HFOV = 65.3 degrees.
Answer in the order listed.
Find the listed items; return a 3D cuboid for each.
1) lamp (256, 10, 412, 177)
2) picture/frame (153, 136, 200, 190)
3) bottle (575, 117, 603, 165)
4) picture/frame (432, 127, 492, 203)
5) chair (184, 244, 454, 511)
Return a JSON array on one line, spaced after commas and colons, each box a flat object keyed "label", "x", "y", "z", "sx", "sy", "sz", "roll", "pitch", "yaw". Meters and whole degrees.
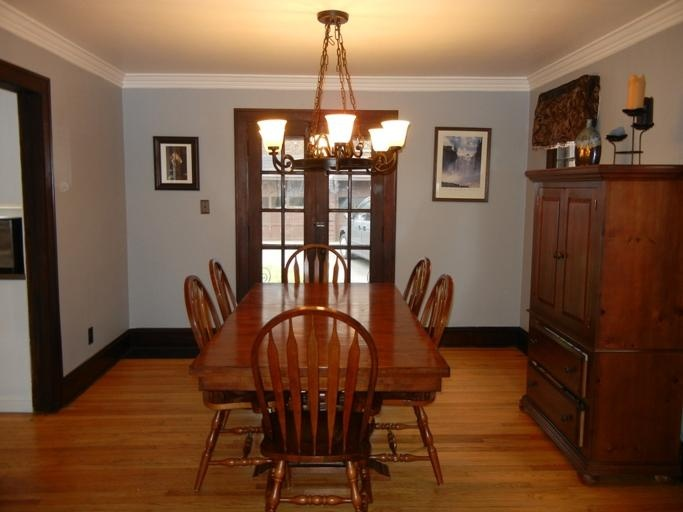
[{"label": "lamp", "x": -0.034, "y": -1.068, "z": 3.436, "sx": 0.974, "sy": 1.063, "sz": 1.095, "roll": 1, "pitch": 6, "yaw": 8}, {"label": "picture/frame", "x": -1.572, "y": -0.899, "z": 5.017, "sx": 0.439, "sy": 0.627, "sz": 0.044, "roll": 0, "pitch": 2, "yaw": -3}, {"label": "bottle", "x": 1.517, "y": -0.700, "z": 3.261, "sx": 0.142, "sy": 0.285, "sz": 0.288, "roll": 4, "pitch": 10, "yaw": 26}, {"label": "picture/frame", "x": 1.154, "y": -0.912, "z": 5.122, "sx": 0.597, "sy": 0.855, "sz": 0.030, "roll": 1, "pitch": 2, "yaw": -3}, {"label": "chair", "x": -0.135, "y": 0.636, "z": 3.936, "sx": 1.331, "sy": 1.086, "sz": 2.093, "roll": 0, "pitch": 2, "yaw": 2}]
